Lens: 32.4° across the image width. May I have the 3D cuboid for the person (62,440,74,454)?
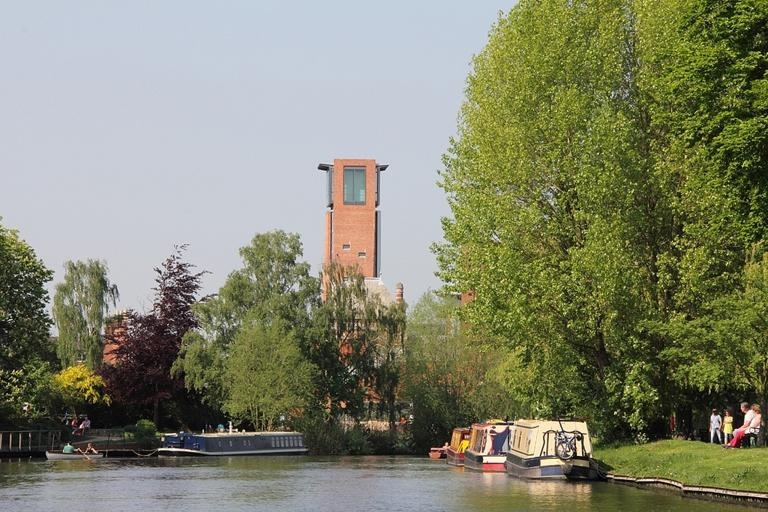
[{"bbox_3d":[-24.558,15.066,103.098,1.080,0.976,0.602,11,12,35],"label":"person"}]

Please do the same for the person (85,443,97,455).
[{"bbox_3d":[-23.381,15.478,106.104,0.575,0.854,0.270,-5,-51,-4],"label":"person"}]
